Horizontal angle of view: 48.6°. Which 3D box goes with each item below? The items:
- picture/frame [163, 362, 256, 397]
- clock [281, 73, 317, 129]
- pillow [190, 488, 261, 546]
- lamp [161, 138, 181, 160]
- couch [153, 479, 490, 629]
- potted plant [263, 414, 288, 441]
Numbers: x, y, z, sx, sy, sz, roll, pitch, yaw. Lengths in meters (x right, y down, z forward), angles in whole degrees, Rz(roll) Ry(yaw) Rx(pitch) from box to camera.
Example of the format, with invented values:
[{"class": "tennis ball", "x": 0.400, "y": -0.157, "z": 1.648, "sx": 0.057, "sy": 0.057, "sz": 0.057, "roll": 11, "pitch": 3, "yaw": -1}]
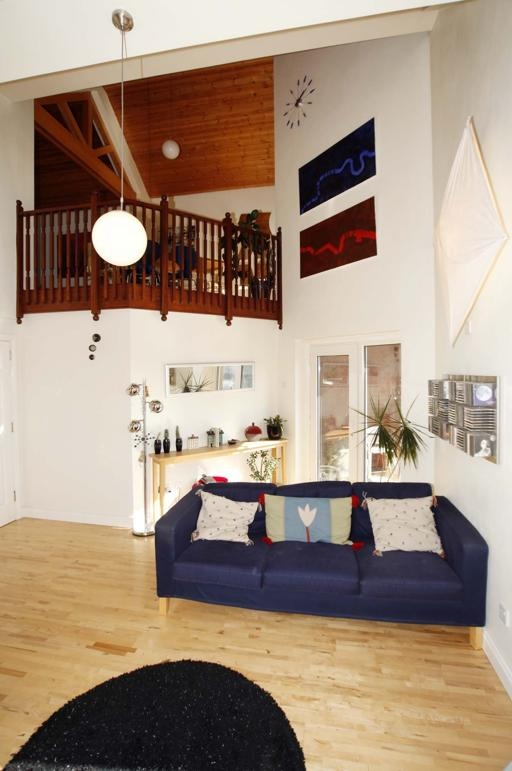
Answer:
[{"class": "picture/frame", "x": -0.498, "y": -0.084, "z": 6.583, "sx": 0.167, "sy": 0.327, "sz": 1.398, "roll": 2, "pitch": 3, "yaw": 37}, {"class": "clock", "x": 0.526, "y": -3.314, "z": 6.599, "sx": 0.056, "sy": 0.569, "sz": 0.660, "roll": 8, "pitch": 42, "yaw": -30}, {"class": "pillow", "x": -0.210, "y": 0.922, "z": 4.069, "sx": 0.308, "sy": 0.370, "sz": 0.107, "roll": 12, "pitch": -23, "yaw": -4}, {"class": "lamp", "x": -1.235, "y": -3.325, "z": 8.096, "sx": 0.250, "sy": 0.367, "sz": 0.265, "roll": -8, "pitch": 11, "yaw": -29}, {"class": "couch", "x": 0.413, "y": 1.082, "z": 3.960, "sx": 2.135, "sy": 0.708, "sz": 0.925, "roll": 1, "pitch": 3, "yaw": 12}, {"class": "potted plant", "x": 0.245, "y": 0.524, "z": 7.132, "sx": 0.243, "sy": 0.296, "sz": 0.210, "roll": -4, "pitch": 6, "yaw": -41}]
